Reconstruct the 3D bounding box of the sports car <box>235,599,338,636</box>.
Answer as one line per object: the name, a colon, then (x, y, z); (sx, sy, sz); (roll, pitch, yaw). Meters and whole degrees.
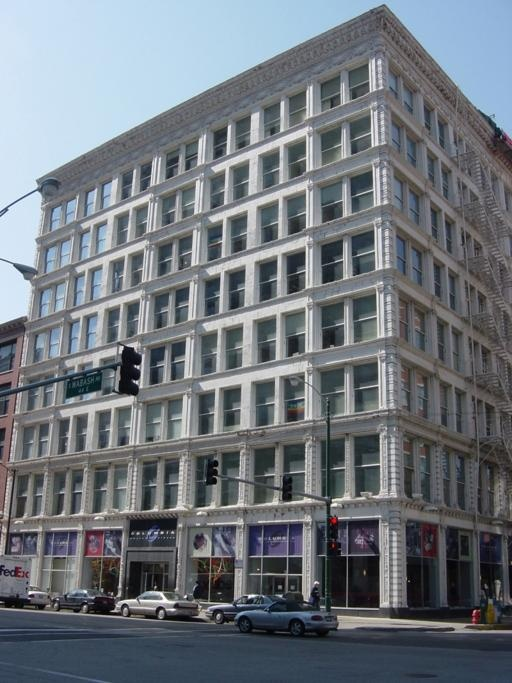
sports car: (1.038, 9.444, 27.815); (2.948, 0.859, 1.523); (-6, -18, 33)
